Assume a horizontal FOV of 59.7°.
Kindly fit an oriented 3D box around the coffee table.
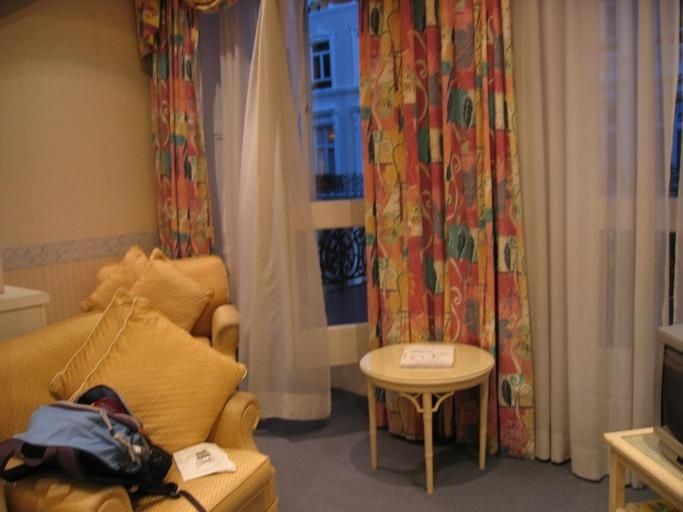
[{"bbox_3d":[0.480,0.918,3.428,0.688,0.718,0.714,-5,9,-17],"label":"coffee table"}]
